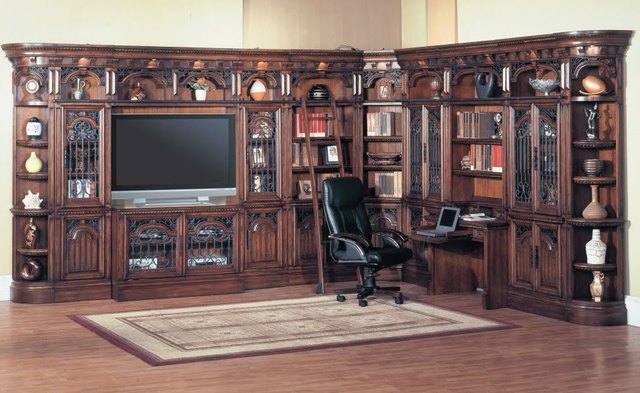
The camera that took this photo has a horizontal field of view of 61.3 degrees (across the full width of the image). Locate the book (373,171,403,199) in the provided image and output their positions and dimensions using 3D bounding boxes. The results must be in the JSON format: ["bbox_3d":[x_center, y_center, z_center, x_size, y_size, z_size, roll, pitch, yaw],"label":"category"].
[{"bbox_3d":[1.207,-0.213,9.843,0.504,0.546,0.639,1,1,-12],"label":"book"}]

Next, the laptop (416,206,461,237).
[{"bbox_3d":[1.858,0.380,8.320,0.592,0.329,0.525,-2,6,-29],"label":"laptop"}]

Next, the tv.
[{"bbox_3d":[-2.480,-0.635,8.840,1.997,1.104,0.069,-1,2,-18],"label":"tv"}]

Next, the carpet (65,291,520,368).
[{"bbox_3d":[-0.588,1.689,7.322,4.938,0.037,2.110,-2,7,-16],"label":"carpet"}]

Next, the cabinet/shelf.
[{"bbox_3d":[-0.216,-0.258,8.336,5.813,2.376,3.956,-2,2,-28],"label":"cabinet/shelf"}]

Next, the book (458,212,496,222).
[{"bbox_3d":[2.413,0.313,8.242,0.433,0.089,0.571,-5,8,-36],"label":"book"}]
